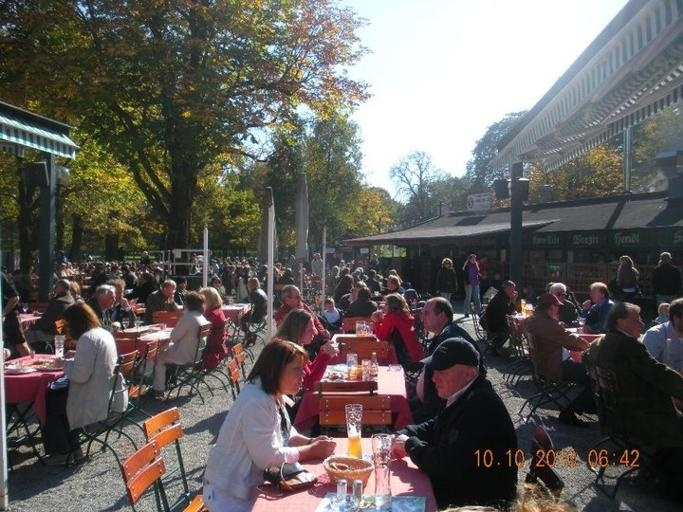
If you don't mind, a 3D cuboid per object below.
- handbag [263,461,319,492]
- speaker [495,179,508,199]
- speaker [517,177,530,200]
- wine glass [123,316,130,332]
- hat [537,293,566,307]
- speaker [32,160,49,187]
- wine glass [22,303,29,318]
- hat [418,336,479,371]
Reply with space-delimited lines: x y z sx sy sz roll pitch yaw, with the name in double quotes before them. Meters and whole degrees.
"handbag" -0.498 2.224 6.282 0.306 0.118 0.307 0 6 -32
"speaker" 3.971 -1.680 15.467 0.371 0.477 0.588 -10 -6 15
"speaker" 4.339 -1.580 14.816 0.283 0.510 0.296 -8 -5 -7
"wine glass" -4.496 1.408 13.027 0.174 0.324 0.182 1 4 -24
"hat" 3.576 0.749 10.600 0.403 0.237 0.313 4 5 -11
"speaker" -7.582 -2.089 15.775 0.331 0.587 0.436 -7 -5 -14
"wine glass" -7.839 1.338 15.498 0.159 0.535 0.171 -1 6 -11
"hat" 1.209 1.038 6.699 0.412 0.274 0.334 4 -5 3
